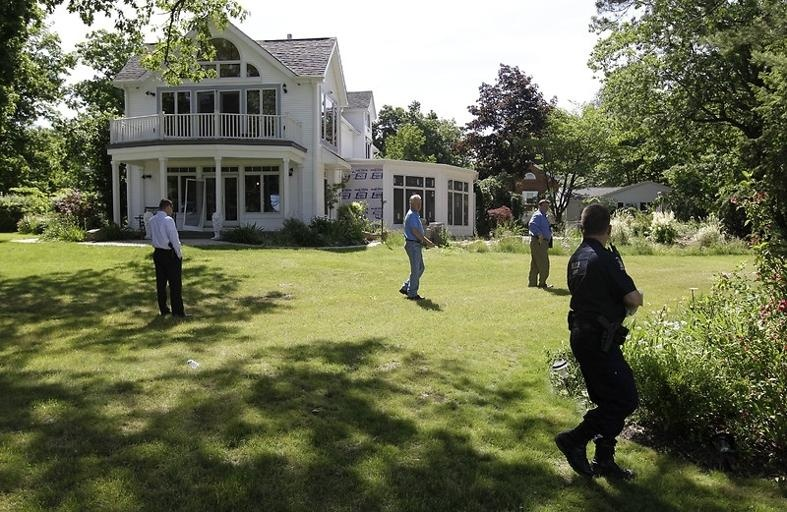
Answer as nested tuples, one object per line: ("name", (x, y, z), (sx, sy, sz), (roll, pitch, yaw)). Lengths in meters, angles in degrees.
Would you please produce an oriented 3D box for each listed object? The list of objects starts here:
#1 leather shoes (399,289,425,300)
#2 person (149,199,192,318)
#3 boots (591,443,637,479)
("leather shoes", (0.464, 0.969, 15.820), (0.627, 0.278, 0.216), (3, 3, -1))
("person", (-4.753, 0.059, 13.440), (0.783, 2.505, 0.370), (6, 11, 20))
("boots", (2.965, 2.795, 8.560), (0.584, 0.451, 0.250), (5, -6, 1))
